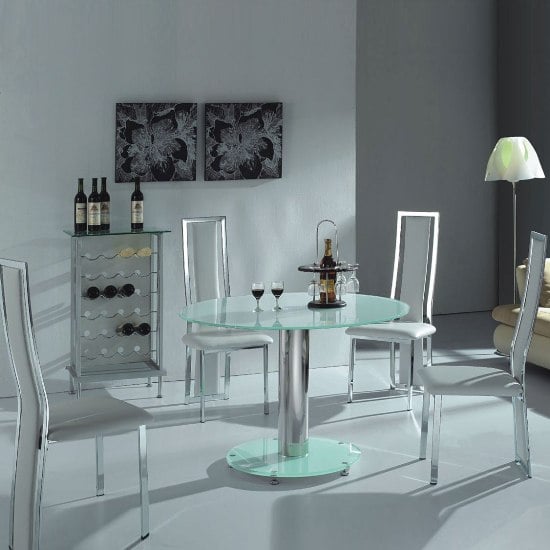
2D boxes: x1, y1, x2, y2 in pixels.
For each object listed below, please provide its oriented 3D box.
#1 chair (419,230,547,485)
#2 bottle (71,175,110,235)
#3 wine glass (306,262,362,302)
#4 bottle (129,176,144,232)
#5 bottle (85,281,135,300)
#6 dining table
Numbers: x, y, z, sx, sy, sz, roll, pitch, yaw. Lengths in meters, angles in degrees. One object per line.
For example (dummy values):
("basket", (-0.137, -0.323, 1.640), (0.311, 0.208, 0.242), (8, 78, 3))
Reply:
("chair", (0.922, 0.354, 2.422), (0.526, 1.085, 0.434), (0, 4, 10))
("bottle", (-1.184, -0.458, 3.501), (0.230, 0.390, 0.361), (-2, 4, -18))
("wine glass", (0.321, 0.044, 2.773), (0.245, 0.175, 0.256), (-3, 8, -17))
("bottle", (-0.936, -0.485, 3.661), (0.094, 0.365, 0.266), (-2, 4, -14))
("bottle", (-1.099, 0.109, 3.600), (0.328, 0.122, 0.116), (-6, 5, 4))
("dining table", (0.104, 0.518, 2.611), (1.079, 0.758, 0.921), (-1, 4, -10))
